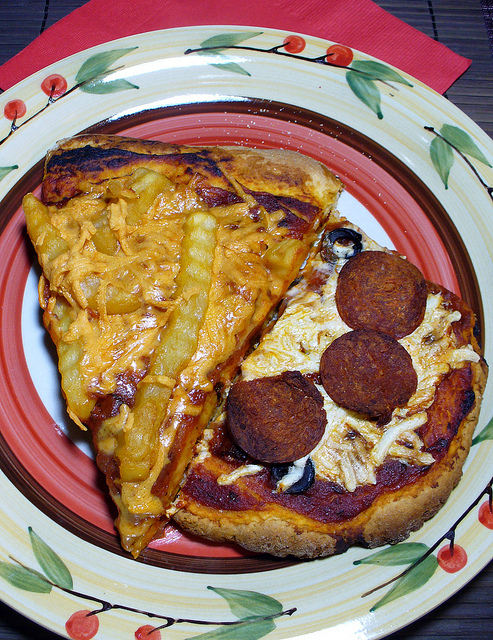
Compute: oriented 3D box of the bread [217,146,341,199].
[{"bbox_3d":[0.157,-0.648,2.696,0.440,0.069,0.250,21,51,27],"label":"bread"}]
